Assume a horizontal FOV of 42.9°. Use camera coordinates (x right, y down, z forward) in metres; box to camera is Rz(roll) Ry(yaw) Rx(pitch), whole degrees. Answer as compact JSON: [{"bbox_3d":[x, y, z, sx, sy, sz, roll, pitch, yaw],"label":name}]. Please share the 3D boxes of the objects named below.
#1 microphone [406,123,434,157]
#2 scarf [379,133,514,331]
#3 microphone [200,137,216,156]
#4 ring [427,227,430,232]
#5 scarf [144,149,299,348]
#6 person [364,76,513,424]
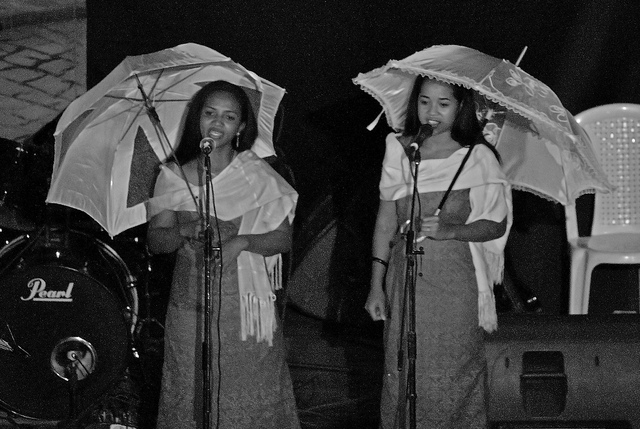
[{"bbox_3d":[0.503,-0.389,4.016,0.104,0.181,0.184,3,-9,5],"label":"microphone"},{"bbox_3d":[0.754,0.054,4.397,0.792,0.983,0.311,-1,6,6],"label":"scarf"},{"bbox_3d":[-0.530,-0.328,3.865,0.081,0.077,0.078,1,-48,-6],"label":"microphone"},{"bbox_3d":[0.545,0.072,4.057,0.016,0.016,0.029,0,-5,11],"label":"ring"},{"bbox_3d":[-0.387,0.160,4.207,0.806,0.996,0.301,1,-6,-21],"label":"scarf"},{"bbox_3d":[0.658,0.175,4.289,0.729,1.840,0.470,8,-10,-25],"label":"person"}]
